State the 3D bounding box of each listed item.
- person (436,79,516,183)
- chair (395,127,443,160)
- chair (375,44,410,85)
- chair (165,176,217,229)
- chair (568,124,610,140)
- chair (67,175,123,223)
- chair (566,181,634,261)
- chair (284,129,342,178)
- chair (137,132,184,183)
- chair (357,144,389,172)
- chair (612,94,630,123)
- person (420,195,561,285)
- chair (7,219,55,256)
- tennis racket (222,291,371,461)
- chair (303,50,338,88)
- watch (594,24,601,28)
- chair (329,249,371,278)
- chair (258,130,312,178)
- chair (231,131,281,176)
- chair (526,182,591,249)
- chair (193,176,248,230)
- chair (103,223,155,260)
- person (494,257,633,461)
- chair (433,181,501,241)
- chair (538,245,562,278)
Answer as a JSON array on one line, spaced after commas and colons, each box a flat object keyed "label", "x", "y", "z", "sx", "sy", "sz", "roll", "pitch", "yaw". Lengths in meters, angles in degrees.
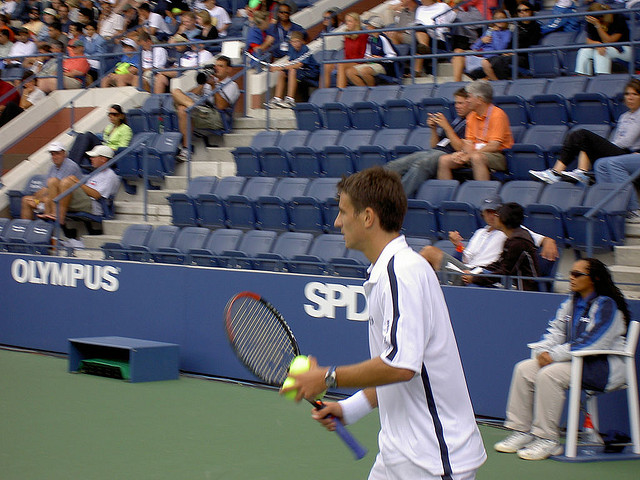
[{"label": "person", "x": 1.879, "y": -1.286, "z": 10.156, "sx": 0.817, "sy": 1.193, "sz": 0.519, "roll": 3, "pitch": 8, "yaw": 34}, {"label": "chair", "x": 1.291, "y": -1.249, "z": 10.978, "sx": 0.603, "sy": 0.395, "sz": 0.754, "roll": 2, "pitch": 6, "yaw": 26}, {"label": "chair", "x": 1.164, "y": -2.777, "z": 13.426, "sx": 0.374, "sy": 0.682, "sz": 0.826, "roll": 1, "pitch": 6, "yaw": 21}, {"label": "chair", "x": -1.899, "y": -0.542, "z": 12.033, "sx": 0.759, "sy": 0.831, "sz": 0.738, "roll": 0, "pitch": -3, "yaw": 40}, {"label": "chair", "x": 3.236, "y": -1.287, "z": 10.154, "sx": 0.359, "sy": 0.194, "sz": 0.588, "roll": -4, "pitch": 6, "yaw": -24}, {"label": "chair", "x": -3.312, "y": -0.453, "z": 12.425, "sx": 0.426, "sy": 0.454, "sz": 0.564, "roll": -10, "pitch": 19, "yaw": 30}, {"label": "chair", "x": 2.957, "y": -0.171, "z": 8.927, "sx": 0.661, "sy": 0.803, "sz": 0.531, "roll": 1, "pitch": 7, "yaw": 19}, {"label": "chair", "x": -0.224, "y": -1.146, "z": 11.838, "sx": 0.640, "sy": 0.562, "sz": 0.693, "roll": 4, "pitch": 7, "yaw": 0}, {"label": "chair", "x": -2.552, "y": -1.256, "z": 13.118, "sx": 0.659, "sy": 0.760, "sz": 0.578, "roll": 3, "pitch": 7, "yaw": 34}, {"label": "chair", "x": 0.685, "y": -1.067, "z": 11.028, "sx": 0.350, "sy": 0.317, "sz": 0.538, "roll": -3, "pitch": 6, "yaw": -18}, {"label": "chair", "x": 3.653, "y": -1.581, "z": 10.256, "sx": 0.182, "sy": 0.345, "sz": 0.273, "roll": 1, "pitch": 6, "yaw": 18}, {"label": "person", "x": 1.634, "y": 0.043, "z": 8.541, "sx": 1.494, "sy": 0.769, "sz": 0.800, "roll": 4, "pitch": -11, "yaw": -15}, {"label": "chair", "x": -4.102, "y": -0.029, "z": 11.878, "sx": 0.663, "sy": 0.391, "sz": 1.547, "roll": -3, "pitch": 6, "yaw": -19}, {"label": "tennis racket", "x": -0.355, "y": 0.709, "z": 5.568, "sx": 0.526, "sy": 0.168, "sz": 1.810, "roll": -38, "pitch": 45, "yaw": -8}, {"label": "chair", "x": -0.023, "y": -2.969, "z": 14.386, "sx": 0.568, "sy": 0.705, "sz": 0.764, "roll": 7, "pitch": 19, "yaw": 19}, {"label": "watch", "x": 3.741, "y": -2.850, "z": 11.356, "sx": 0.064, "sy": 0.054, "sz": 0.069, "roll": 5, "pitch": 13, "yaw": 21}, {"label": "chair", "x": 0.333, "y": 0.284, "z": 9.376, "sx": 0.330, "sy": 0.335, "sz": 0.340, "roll": 3, "pitch": -9, "yaw": 13}, {"label": "chair", "x": -0.683, "y": -1.268, "z": 12.079, "sx": 0.743, "sy": 0.606, "sz": 0.532, "roll": -4, "pitch": 23, "yaw": -15}, {"label": "chair", "x": -0.995, "y": -1.264, "z": 12.489, "sx": 0.672, "sy": 0.673, "sz": 0.749, "roll": 1, "pitch": 3, "yaw": 37}, {"label": "chair", "x": 2.659, "y": -0.185, "z": 9.253, "sx": 0.852, "sy": 0.860, "sz": 0.789, "roll": 3, "pitch": 1, "yaw": 19}, {"label": "chair", "x": -1.489, "y": -0.498, "z": 11.655, "sx": 0.800, "sy": 0.718, "sz": 0.634, "roll": 1, "pitch": -4, "yaw": -43}, {"label": "chair", "x": -2.599, "y": 0.085, "z": 11.382, "sx": 0.591, "sy": 0.629, "sz": 0.551, "roll": 8, "pitch": 0, "yaw": -45}, {"label": "person", "x": 2.131, "y": 1.025, "z": 7.354, "sx": 1.110, "sy": 1.712, "sz": 0.498, "roll": 0, "pitch": 7, "yaw": 12}, {"label": "chair", "x": 1.602, "y": -0.286, "z": 9.763, "sx": 0.726, "sy": 0.824, "sz": 0.745, "roll": 6, "pitch": -6, "yaw": -43}, {"label": "chair", "x": 2.279, "y": 0.215, "z": 8.433, "sx": 0.277, "sy": 0.326, "sz": 0.302, "roll": 7, "pitch": 12, "yaw": 18}]
